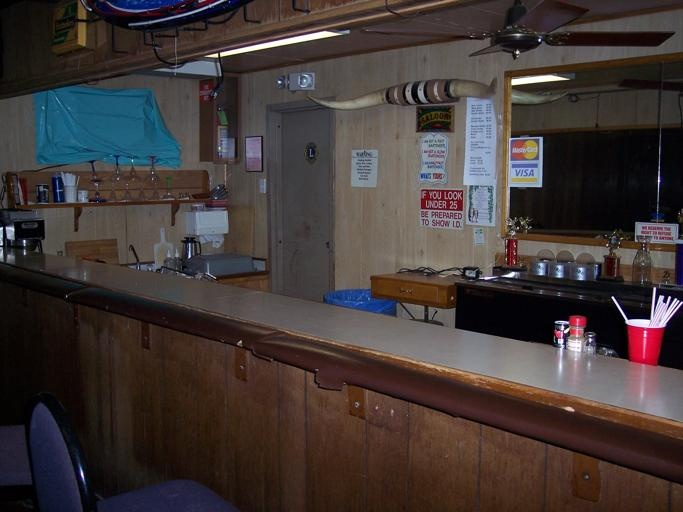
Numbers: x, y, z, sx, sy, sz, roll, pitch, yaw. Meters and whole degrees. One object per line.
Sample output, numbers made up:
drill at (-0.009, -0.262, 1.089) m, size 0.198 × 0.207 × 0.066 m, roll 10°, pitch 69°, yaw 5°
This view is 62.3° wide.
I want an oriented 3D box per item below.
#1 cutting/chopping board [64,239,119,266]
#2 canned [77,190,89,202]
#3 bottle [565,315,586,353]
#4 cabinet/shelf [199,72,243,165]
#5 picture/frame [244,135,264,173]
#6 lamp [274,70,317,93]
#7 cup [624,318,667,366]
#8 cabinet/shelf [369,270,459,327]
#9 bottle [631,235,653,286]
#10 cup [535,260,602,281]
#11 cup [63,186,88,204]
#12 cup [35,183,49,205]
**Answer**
cutting/chopping board at (-2.539, -0.037, 5.783) m, size 0.527 × 0.247 × 0.294 m, roll -2°, pitch 8°, yaw -29°
canned at (-2.526, -0.588, 5.527) m, size 0.062 × 0.125 × 0.126 m, roll 0°, pitch 2°, yaw 19°
bottle at (0.772, 0.250, 1.855) m, size 0.059 × 0.109 × 0.108 m, roll 4°, pitch 7°, yaw 24°
cabinet/shelf at (-1.377, -1.565, 6.443) m, size 0.471 × 0.983 × 0.269 m, roll 0°, pitch 7°, yaw -14°
picture/frame at (-0.987, -1.172, 6.446) m, size 0.056 × 0.595 × 0.403 m, roll -4°, pitch 6°, yaw -39°
lamp at (-0.485, -1.826, 5.882) m, size 0.463 × 0.214 × 0.192 m, roll 7°, pitch 9°, yaw 37°
cup at (1.037, 0.293, 1.986) m, size 0.151 × 0.165 × 0.148 m, roll 4°, pitch 0°, yaw 0°
cabinet/shelf at (0.704, 0.384, 4.894) m, size 0.806 × 0.467 × 0.508 m, roll 7°, pitch 9°, yaw 37°
bottle at (2.081, 0.043, 3.903) m, size 0.124 × 0.290 × 0.191 m, roll 5°, pitch 8°, yaw 29°
cup at (1.660, 0.102, 4.203) m, size 0.478 × 0.129 × 0.237 m, roll 5°, pitch 8°, yaw 29°
cup at (-2.561, -0.593, 5.472) m, size 0.105 × 0.166 × 0.223 m, roll 6°, pitch 8°, yaw 31°
cup at (-2.757, -0.569, 5.220) m, size 0.110 × 0.196 × 0.185 m, roll 1°, pitch 1°, yaw 34°
